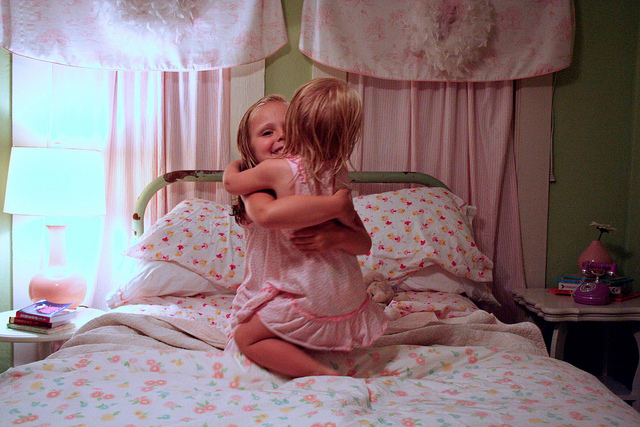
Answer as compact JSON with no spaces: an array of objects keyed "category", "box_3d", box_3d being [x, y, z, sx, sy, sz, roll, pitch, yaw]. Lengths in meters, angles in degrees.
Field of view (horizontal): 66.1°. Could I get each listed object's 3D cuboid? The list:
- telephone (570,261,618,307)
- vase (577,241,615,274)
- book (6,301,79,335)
[{"category":"telephone","box_3d":[1.606,0.406,2.885,0.252,0.245,0.192,-2,7,-41]},{"category":"vase","box_3d":[1.685,0.266,3.029,0.263,0.202,0.265,2,2,31]},{"category":"book","box_3d":[-1.480,0.555,2.628,0.231,0.074,0.176,4,20,22]}]
